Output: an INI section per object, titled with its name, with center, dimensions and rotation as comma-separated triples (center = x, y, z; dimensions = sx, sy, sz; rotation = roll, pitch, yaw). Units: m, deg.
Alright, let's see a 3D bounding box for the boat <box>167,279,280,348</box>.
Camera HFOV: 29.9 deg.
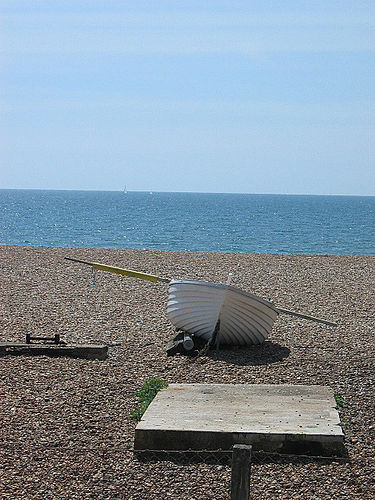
[boat]
center = 0.476, 1.060, 11.137
dimensions = 1.941, 0.790, 1.998
rotation = 14, -8, 2
